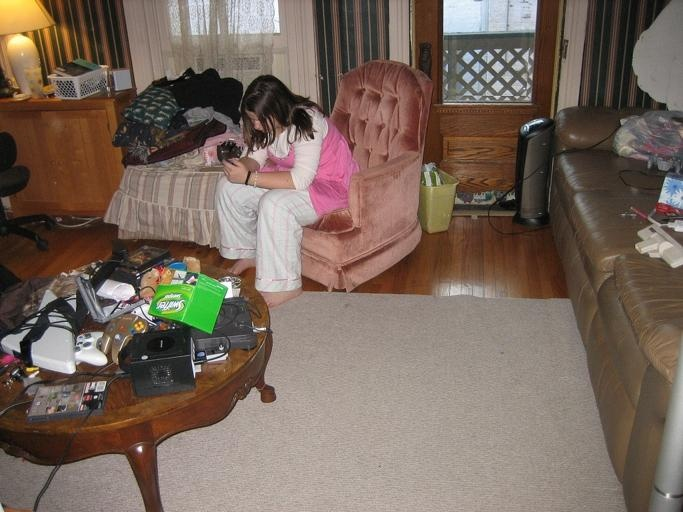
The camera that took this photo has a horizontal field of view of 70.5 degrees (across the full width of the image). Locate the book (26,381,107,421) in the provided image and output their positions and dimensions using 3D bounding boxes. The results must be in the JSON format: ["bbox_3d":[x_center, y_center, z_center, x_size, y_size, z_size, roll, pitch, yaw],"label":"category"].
[{"bbox_3d":[-0.847,0.445,1.498,0.205,0.028,0.124,0,35,-17],"label":"book"}]

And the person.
[{"bbox_3d":[-0.308,-0.416,2.758,0.780,1.089,0.575,-21,37,-33],"label":"person"}]

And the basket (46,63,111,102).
[{"bbox_3d":[-1.916,-1.260,3.581,0.271,0.173,0.413,20,38,20],"label":"basket"}]

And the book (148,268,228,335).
[{"bbox_3d":[-0.551,0.161,1.711,0.204,0.059,0.228,13,45,5],"label":"book"}]

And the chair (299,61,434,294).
[{"bbox_3d":[0.170,-0.515,2.950,0.841,0.928,0.787,6,17,12],"label":"chair"}]

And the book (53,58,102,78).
[{"bbox_3d":[-1.941,-1.366,3.515,0.233,0.057,0.241,-7,20,2],"label":"book"}]

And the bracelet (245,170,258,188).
[{"bbox_3d":[-0.491,-0.417,2.584,0.073,0.068,0.039,-5,26,-8],"label":"bracelet"}]

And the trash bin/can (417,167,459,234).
[{"bbox_3d":[0.652,-0.374,3.336,0.241,0.391,0.345,-6,35,-14],"label":"trash bin/can"}]
